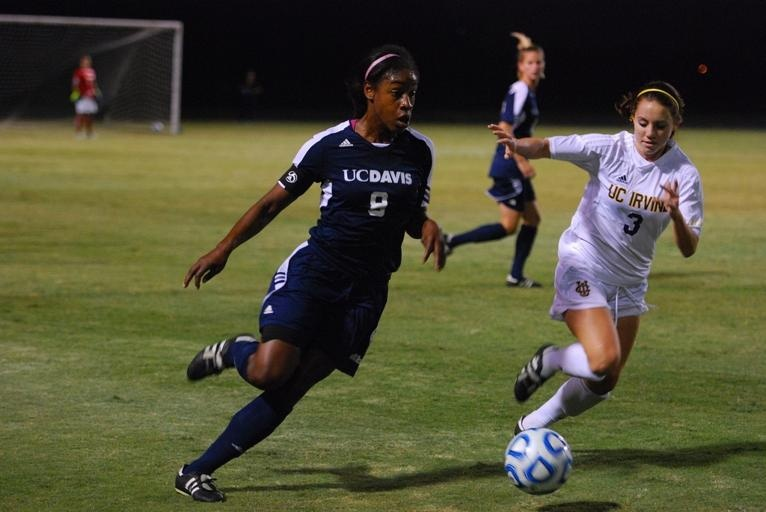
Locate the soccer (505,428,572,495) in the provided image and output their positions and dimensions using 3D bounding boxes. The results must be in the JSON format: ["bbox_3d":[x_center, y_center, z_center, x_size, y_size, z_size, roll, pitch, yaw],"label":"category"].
[{"bbox_3d":[1.238,1.662,10.171,0.664,0.483,0.540,2,9,0],"label":"soccer"}]

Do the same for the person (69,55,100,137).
[{"bbox_3d":[-4.519,-2.405,18.425,0.429,1.273,1.330,7,9,-14],"label":"person"}]

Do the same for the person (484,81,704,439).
[{"bbox_3d":[1.897,0.042,10.430,1.489,3.126,0.785,10,9,9],"label":"person"}]

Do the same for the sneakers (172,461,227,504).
[{"bbox_3d":[-1.503,1.842,9.884,0.465,0.153,0.206,12,7,19],"label":"sneakers"}]
